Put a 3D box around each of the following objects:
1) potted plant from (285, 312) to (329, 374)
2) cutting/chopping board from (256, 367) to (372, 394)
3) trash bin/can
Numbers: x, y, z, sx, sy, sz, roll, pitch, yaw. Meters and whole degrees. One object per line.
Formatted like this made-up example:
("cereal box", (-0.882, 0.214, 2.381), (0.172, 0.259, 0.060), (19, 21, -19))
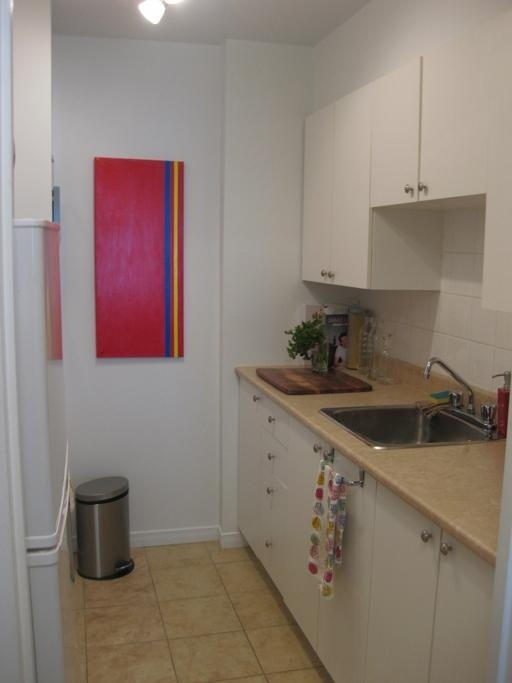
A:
("potted plant", (0.253, -0.021, 2.795), (0.203, 0.420, 0.277), (-5, 13, -10))
("cutting/chopping board", (0.252, 0.178, 2.579), (0.469, 0.054, 0.598), (-1, 4, -8))
("trash bin/can", (-0.699, 0.883, 2.799), (0.307, 0.544, 0.314), (1, 11, 13))
